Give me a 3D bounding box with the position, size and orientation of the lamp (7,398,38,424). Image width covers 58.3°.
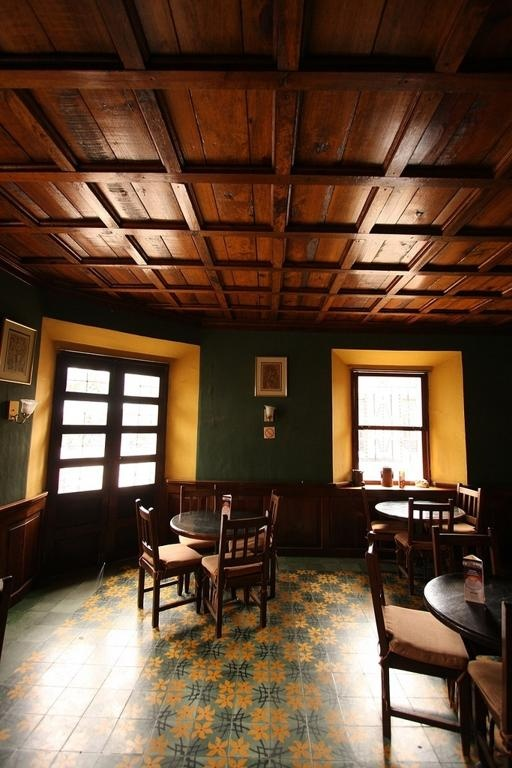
[{"bbox_3d":[-1.779,0.198,3.486,0.158,0.165,0.107,1,-6,4],"label":"lamp"}]

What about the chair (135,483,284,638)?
[{"bbox_3d":[-0.311,1.215,3.356,0.970,0.769,0.864,-6,-10,32],"label":"chair"}]

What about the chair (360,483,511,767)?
[{"bbox_3d":[1.031,1.370,2.672,0.745,1.323,0.821,4,-21,-7],"label":"chair"}]

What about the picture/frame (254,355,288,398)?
[{"bbox_3d":[0.163,-0.075,5.032,0.404,0.522,0.054,0,-9,-3],"label":"picture/frame"}]

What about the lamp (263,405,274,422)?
[{"bbox_3d":[0.138,0.307,4.930,0.157,0.220,0.145,1,-9,-6],"label":"lamp"}]
